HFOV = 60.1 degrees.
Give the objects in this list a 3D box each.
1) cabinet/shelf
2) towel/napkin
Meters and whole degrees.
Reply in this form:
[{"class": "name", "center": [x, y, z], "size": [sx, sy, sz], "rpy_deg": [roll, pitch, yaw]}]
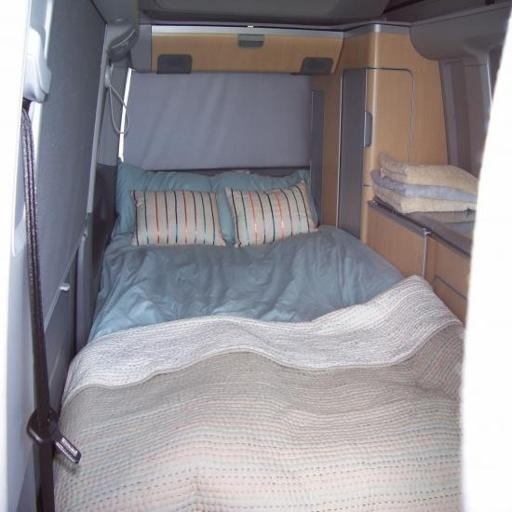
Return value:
[{"class": "cabinet/shelf", "center": [0.776, -0.005, 2.086], "size": [0.135, 0.724, 0.551], "rpy_deg": [-7, 20, -21]}, {"class": "towel/napkin", "center": [0.869, -0.373, 2.363], "size": [0.495, 0.488, 0.222], "rpy_deg": [2, 4, 4]}]
